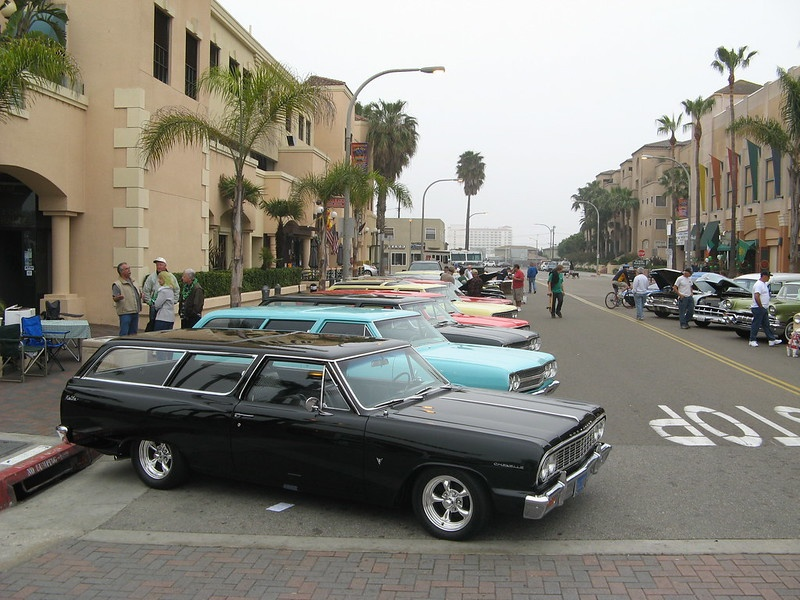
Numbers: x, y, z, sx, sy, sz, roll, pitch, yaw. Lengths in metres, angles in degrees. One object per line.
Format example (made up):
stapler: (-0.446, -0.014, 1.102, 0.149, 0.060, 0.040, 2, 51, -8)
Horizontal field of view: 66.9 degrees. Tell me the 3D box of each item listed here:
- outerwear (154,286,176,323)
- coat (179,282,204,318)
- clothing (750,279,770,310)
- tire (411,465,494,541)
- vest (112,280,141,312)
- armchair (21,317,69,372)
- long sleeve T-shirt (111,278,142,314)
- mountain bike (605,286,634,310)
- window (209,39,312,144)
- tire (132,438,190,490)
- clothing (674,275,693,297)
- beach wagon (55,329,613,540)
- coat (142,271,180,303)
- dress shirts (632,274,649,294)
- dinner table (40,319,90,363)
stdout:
outerwear: (-5.095, 0.104, 13.195, 0.455, 0.777, 0.557, -2, 6, -21)
coat: (-4.758, 0.031, 13.881, 0.817, 0.874, 0.492, 3, -4, 39)
clothing: (10.536, -0.129, 17.748, 0.510, 0.885, 0.897, 2, 4, 24)
tire: (0.501, 1.900, 5.718, 0.699, 0.766, 0.264, 1, 6, 29)
vest: (-6.233, -0.083, 13.819, 0.419, 0.845, 0.801, -1, 5, 10)
armchair: (-7.129, 0.880, 12.167, 0.766, 1.065, 0.786, 3, 4, -6)
long sleeve T-shirt: (-6.368, -0.090, 14.172, 0.477, 0.971, 0.938, -2, 5, 11)
mountain bike: (10.807, -0.056, 29.733, 1.449, 1.013, 0.755, -1, 8, 15)
window: (-3.416, -4.934, 15.214, 2.577, 2.354, 1.589, 0, 5, 1)
tire: (-2.820, 1.836, 7.040, 0.226, 0.639, 0.632, -18, -37, 27)
clothing: (10.407, -0.469, 22.336, 1.035, 1.048, 0.559, -4, 4, -42)
beach wagon: (-0.861, 1.361, 6.611, 5.554, 1.689, 1.047, 2, 6, 20)
coat: (-5.481, -0.271, 13.881, 0.868, 0.806, 0.517, 0, 6, -10)
dress shirts: (9.614, -0.627, 24.259, 0.469, 0.844, 0.804, 6, 11, 38)
dinner table: (-7.131, 0.793, 13.206, 1.016, 0.721, 1.072, 1, 1, 16)
